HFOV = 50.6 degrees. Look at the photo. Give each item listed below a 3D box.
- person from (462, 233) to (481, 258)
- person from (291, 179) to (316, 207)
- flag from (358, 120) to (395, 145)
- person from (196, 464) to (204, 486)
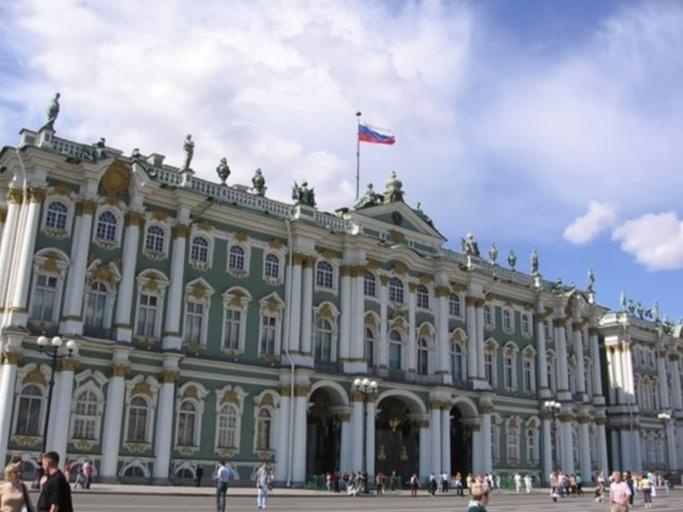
[{"bbox_3d":[9.722,-0.527,54.403,1.527,2.035,0.916,14,-28,-31],"label":"person"},{"bbox_3d":[-2.763,-4.592,53.021,1.534,1.918,0.623,8,-21,-24],"label":"person"},{"bbox_3d":[2.730,-9.403,56.199,2.315,2.387,2.213,3,-19,-10],"label":"flag"},{"bbox_3d":[-8.667,13.418,44.034,0.472,1.311,1.552,3,-20,-11],"label":"person"}]
